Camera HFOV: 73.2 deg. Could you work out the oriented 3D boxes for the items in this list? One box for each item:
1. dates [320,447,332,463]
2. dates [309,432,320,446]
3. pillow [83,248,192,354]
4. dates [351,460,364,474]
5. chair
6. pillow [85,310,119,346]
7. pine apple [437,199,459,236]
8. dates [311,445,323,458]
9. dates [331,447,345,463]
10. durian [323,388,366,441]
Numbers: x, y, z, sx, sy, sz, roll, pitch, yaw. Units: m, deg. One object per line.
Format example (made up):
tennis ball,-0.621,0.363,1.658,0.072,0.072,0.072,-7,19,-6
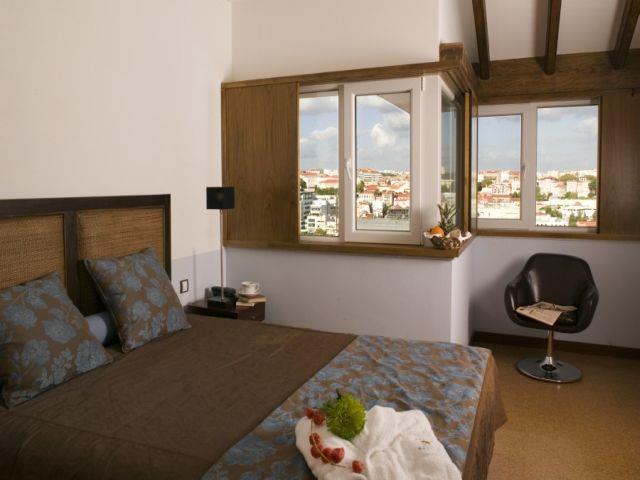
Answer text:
dates,0.023,0.819,1.631,0.061,0.054,0.025,9,14,40
dates,-0.022,0.782,1.683,0.042,0.049,0.042,1,4,6
pillow,-1.207,0.354,2.815,0.170,0.578,0.580,-33,-13,26
dates,0.141,0.835,1.587,0.049,0.030,0.041,-11,15,-42
chair,2.322,0.682,4.424,0.841,1.305,0.906,2,4,31
pillow,-1.367,0.542,2.773,0.168,0.194,0.216,-28,0,-9
pine apple,1.055,-0.185,3.789,0.244,0.379,0.326,-1,-2,13
dates,-0.013,0.814,1.652,0.035,0.038,0.021,23,61,39
dates,0.070,0.811,1.622,0.065,0.047,0.033,-7,12,-29
durian,0.101,0.713,1.820,0.162,0.168,0.171,7,9,2
